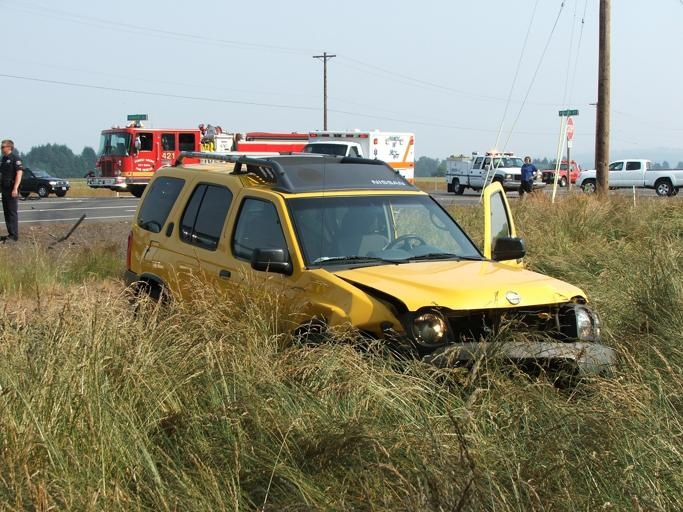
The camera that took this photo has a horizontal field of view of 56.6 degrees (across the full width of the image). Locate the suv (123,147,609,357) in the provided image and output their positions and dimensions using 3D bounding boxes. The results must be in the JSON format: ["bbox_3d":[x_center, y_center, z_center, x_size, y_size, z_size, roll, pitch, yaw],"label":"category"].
[{"bbox_3d":[-0.056,-0.041,5.563,2.046,1.488,3.368,0,2,-41],"label":"suv"}]

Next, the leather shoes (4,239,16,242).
[{"bbox_3d":[-7.032,-0.335,13.471,0.143,0.050,0.090,3,2,-11],"label":"leather shoes"}]

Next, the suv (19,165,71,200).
[{"bbox_3d":[-16.132,-3.830,34.295,3.467,1.509,2.015,13,13,44],"label":"suv"}]
